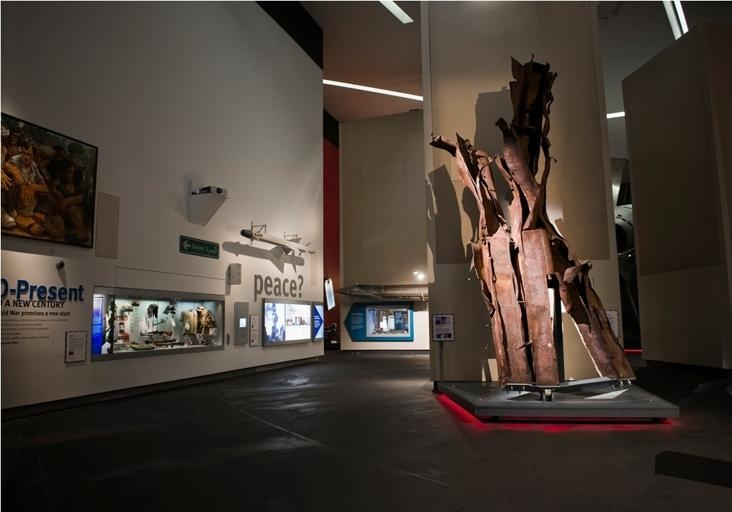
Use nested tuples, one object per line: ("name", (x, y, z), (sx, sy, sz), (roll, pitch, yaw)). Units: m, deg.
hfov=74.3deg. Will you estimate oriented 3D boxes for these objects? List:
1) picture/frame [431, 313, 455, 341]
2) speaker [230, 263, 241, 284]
("picture/frame", (1.458, 1.344, 9.119), (0.427, 0.478, 0.110), (-1, -9, 13))
("speaker", (-3.260, 0.438, 12.018), (0.144, 0.462, 0.465), (-1, -5, 3))
